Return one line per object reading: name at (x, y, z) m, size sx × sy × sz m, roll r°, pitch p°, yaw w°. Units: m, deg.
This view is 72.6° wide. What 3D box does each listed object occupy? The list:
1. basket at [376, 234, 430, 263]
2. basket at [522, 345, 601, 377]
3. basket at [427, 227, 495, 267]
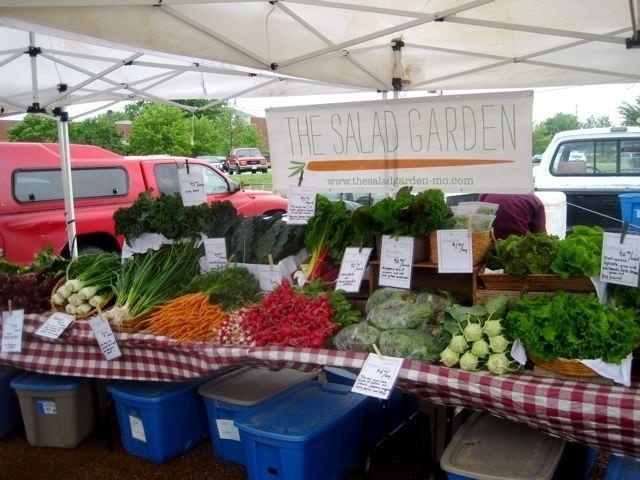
basket at (0.580, 0.058, 3.043) m, size 0.371 × 0.183 × 0.213 m, roll -3°, pitch 14°, yaw 12°
basket at (1.258, 0.647, 2.274) m, size 0.340 × 0.108 × 0.070 m, roll 3°, pitch 16°, yaw 32°
basket at (0.980, 0.021, 2.947) m, size 0.447 × 0.246 × 0.291 m, roll -4°, pitch 13°, yaw 7°
